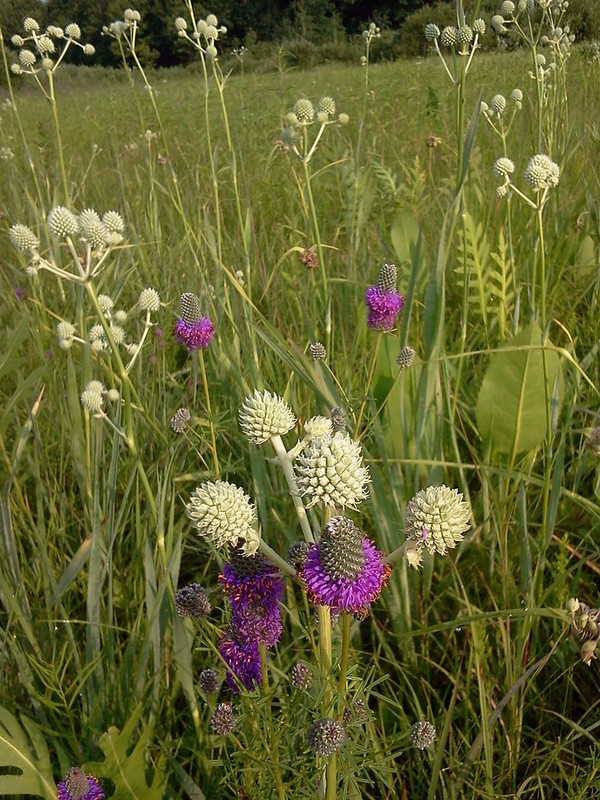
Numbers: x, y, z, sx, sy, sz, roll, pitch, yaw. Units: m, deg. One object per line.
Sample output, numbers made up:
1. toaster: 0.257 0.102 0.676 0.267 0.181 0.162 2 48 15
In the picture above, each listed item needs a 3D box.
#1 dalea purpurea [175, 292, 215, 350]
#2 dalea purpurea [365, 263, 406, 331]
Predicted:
1. dalea purpurea: -0.335 -0.252 2.353 0.117 0.251 0.150 -5 5 -6
2. dalea purpurea: 0.259 -0.319 2.217 0.106 0.209 0.220 -2 27 8
